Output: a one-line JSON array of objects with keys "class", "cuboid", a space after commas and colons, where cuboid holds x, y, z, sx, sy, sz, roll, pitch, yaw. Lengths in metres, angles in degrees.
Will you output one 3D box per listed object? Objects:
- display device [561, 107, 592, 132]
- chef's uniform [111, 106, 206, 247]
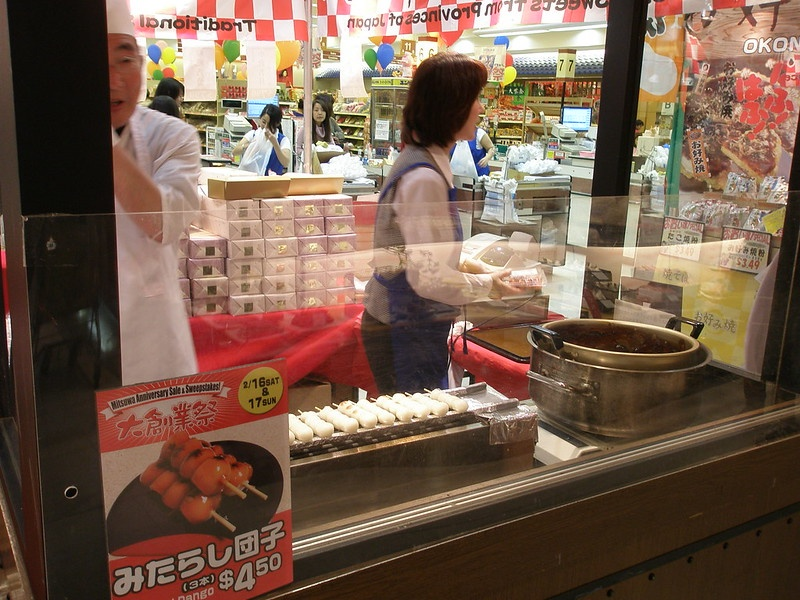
[{"class": "display device", "cuboid": [2.667, -2.751, 9.167, 0.514, 0.471, 0.408, 3, 10, 12]}, {"class": "chef's uniform", "cuboid": [-0.434, -0.218, 1.061, 0.152, 0.297, 0.147, 15, 21, 39]}]
